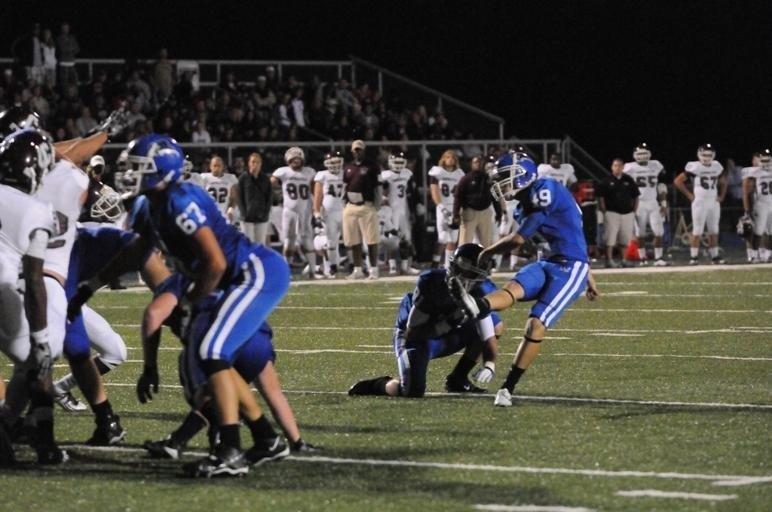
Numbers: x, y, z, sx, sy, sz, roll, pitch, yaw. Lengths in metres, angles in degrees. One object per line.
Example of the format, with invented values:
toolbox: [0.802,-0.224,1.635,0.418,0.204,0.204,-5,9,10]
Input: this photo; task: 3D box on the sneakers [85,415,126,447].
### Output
sneakers: [-2.147,1.420,9.001,0.444,0.271,0.141,0,6,-6]

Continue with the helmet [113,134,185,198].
helmet: [-1.728,-0.674,8.565,0.611,0.460,0.471,-2,2,-29]

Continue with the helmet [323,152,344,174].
helmet: [-0.848,-1.469,18.005,0.261,0.364,0.418,1,-3,-5]

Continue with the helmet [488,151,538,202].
helmet: [1.139,-0.740,10.458,0.479,0.385,0.389,0,-1,2]

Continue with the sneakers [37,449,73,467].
sneakers: [-2.557,1.549,8.659,0.151,0.070,0.174,1,-7,4]

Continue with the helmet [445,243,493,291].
helmet: [0.659,0.073,10.132,0.357,0.406,0.434,36,22,30]

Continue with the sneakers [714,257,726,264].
sneakers: [5.437,0.105,18.627,0.283,0.114,0.100,-1,5,-37]

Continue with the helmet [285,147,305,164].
helmet: [-1.446,-1.606,18.159,0.267,0.313,0.283,-14,39,-16]

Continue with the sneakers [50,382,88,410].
sneakers: [-2.736,1.230,9.814,0.272,0.275,0.614,1,-3,-15]

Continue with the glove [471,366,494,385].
glove: [0.856,1.087,10.139,0.191,0.081,0.195,-31,17,-31]

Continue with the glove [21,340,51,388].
glove: [-2.642,0.848,8.593,0.162,0.124,0.494,2,-42,-22]

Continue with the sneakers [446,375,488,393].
sneakers: [0.682,1.190,10.371,0.458,0.177,0.140,-1,1,-4]

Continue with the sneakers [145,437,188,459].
sneakers: [-1.722,1.504,8.755,0.326,0.143,0.152,10,1,2]

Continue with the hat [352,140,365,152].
hat: [-0.457,-1.676,17.393,0.180,0.119,0.241,-1,-5,5]

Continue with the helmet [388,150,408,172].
helmet: [0.152,-1.531,18.905,0.273,0.317,0.334,1,-3,-3]

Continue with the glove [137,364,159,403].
glove: [-1.795,0.979,8.509,0.141,0.290,0.303,1,-3,-9]
